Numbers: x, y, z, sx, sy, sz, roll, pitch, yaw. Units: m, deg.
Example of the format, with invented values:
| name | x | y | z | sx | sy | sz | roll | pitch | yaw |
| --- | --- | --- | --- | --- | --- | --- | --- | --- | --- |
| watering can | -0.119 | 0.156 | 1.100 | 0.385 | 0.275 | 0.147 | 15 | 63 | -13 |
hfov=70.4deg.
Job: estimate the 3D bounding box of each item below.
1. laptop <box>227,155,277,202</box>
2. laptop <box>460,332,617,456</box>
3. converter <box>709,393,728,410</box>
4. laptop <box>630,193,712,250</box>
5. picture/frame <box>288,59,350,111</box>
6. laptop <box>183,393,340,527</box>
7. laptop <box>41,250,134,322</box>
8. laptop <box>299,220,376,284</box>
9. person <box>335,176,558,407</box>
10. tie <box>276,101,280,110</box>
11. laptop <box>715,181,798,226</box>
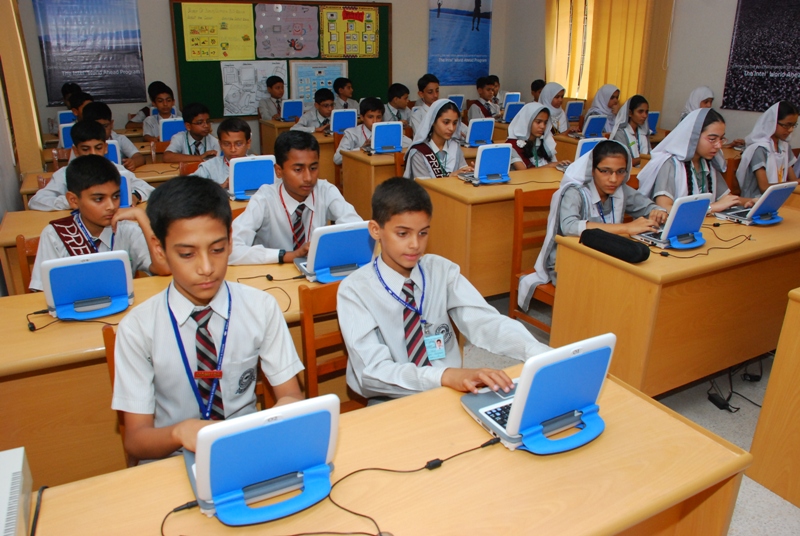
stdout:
| name | x | y | z | sx | sy | sz | roll | pitch | yaw |
| --- | --- | --- | --- | --- | --- | --- | --- | --- | --- |
| laptop | -1.073 | -0.700 | 4.116 | 0.427 | 0.387 | 0.321 | -7 | 17 | -25 |
| laptop | 0.470 | 0.381 | 1.989 | 0.395 | 0.381 | 0.424 | -12 | 25 | -26 |
| converter | 1.810 | 0.739 | 3.232 | 0.061 | 0.039 | 0.108 | -11 | 29 | -24 |
| laptop | 1.533 | -0.272 | 3.278 | 0.307 | 0.261 | 0.349 | -9 | 19 | -21 |
| picture/frame | -1.203 | -2.598 | 8.063 | 1.217 | 0.868 | 0.118 | -12 | 24 | -30 |
| laptop | -0.474 | 0.497 | 1.785 | 0.322 | 0.288 | 0.438 | -7 | 13 | -29 |
| laptop | -1.365 | 0.056 | 2.523 | 0.371 | 0.342 | 0.304 | -9 | 21 | -28 |
| laptop | -0.321 | -0.109 | 2.839 | 0.315 | 0.273 | 0.312 | -10 | 25 | -28 |
| person | 0.038 | -0.007 | 2.407 | 0.795 | 1.040 | 0.943 | -19 | 22 | -36 |
| tie | -1.753 | -2.319 | 8.053 | 0.083 | 0.110 | 0.025 | 0 | -2 | -10 |
| laptop | 2.229 | -0.390 | 3.570 | 0.336 | 0.235 | 0.319 | -12 | 23 | -24 |
